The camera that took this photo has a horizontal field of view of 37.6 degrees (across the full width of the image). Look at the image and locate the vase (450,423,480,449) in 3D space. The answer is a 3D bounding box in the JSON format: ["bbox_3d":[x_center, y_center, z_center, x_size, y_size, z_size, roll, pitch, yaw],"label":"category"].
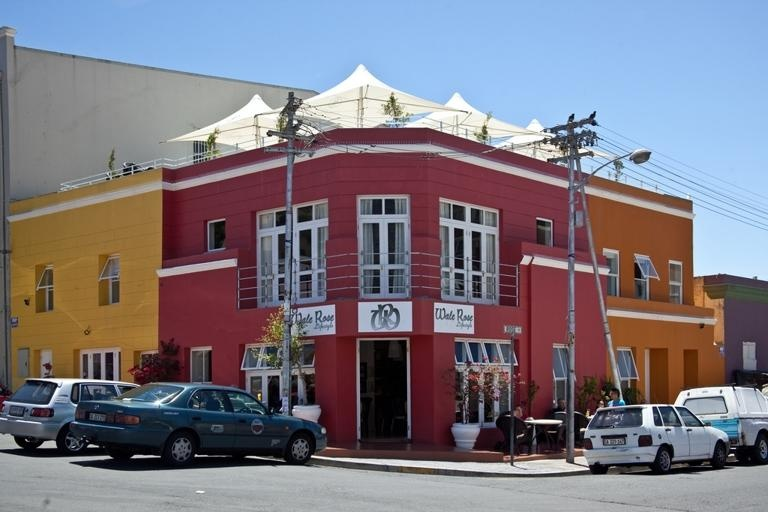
[{"bbox_3d":[2.706,6.229,38.658,0.860,0.785,0.873,0,-13,1],"label":"vase"}]

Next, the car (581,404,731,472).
[{"bbox_3d":[8.355,5.702,35.045,4.955,2.052,2.371,4,-8,-35],"label":"car"}]
